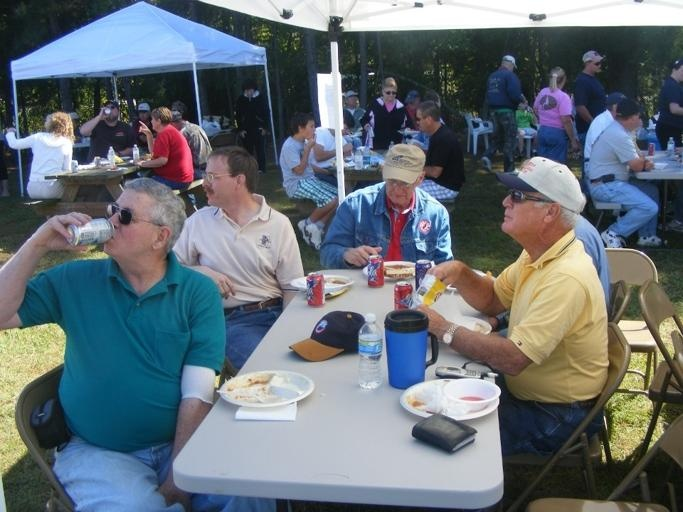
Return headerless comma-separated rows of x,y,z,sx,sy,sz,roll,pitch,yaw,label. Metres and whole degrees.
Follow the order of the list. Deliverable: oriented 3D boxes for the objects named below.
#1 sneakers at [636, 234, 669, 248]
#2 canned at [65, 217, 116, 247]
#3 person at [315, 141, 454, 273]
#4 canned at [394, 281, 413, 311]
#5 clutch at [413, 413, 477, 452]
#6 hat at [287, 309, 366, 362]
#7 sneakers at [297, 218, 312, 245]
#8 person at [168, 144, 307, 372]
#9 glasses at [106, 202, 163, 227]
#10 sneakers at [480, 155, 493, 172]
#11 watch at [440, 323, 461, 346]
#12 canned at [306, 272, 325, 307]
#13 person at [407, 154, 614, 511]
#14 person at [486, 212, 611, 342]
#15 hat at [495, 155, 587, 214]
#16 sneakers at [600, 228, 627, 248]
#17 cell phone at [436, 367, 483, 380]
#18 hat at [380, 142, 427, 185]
3.595,-0.164,6.768,0.237,0.077,0.169,1,19,3,sneakers
-1.070,-0.102,2.540,0.129,0.115,0.206,4,16,28,canned
0.332,-0.264,3.993,0.940,1.170,0.801,-1,29,1,person
0.306,0.204,2.893,0.080,0.145,0.087,16,26,33,canned
0.352,0.605,2.064,0.120,0.045,0.139,-18,20,-42,clutch
-0.058,0.348,2.640,0.296,0.127,0.192,-3,8,-24,hat
-0.447,-0.342,7.412,0.146,0.179,0.413,-3,41,-27,sneakers
-0.662,0.118,3.596,0.894,1.504,0.938,0,12,0,person
-0.967,-0.188,2.637,0.113,0.043,0.153,29,12,31,glasses
2.790,-1.792,11.271,0.200,0.226,0.486,1,2,11,sneakers
0.479,0.346,2.588,0.057,0.101,0.094,31,53,21,watch
-0.138,0.184,3.183,0.130,0.178,0.134,-3,9,-6,canned
0.849,0.392,2.950,0.945,1.711,0.902,-3,14,-6,person
1.334,0.223,3.450,0.388,0.775,0.562,-7,-5,-4,person
0.952,-0.305,2.781,0.350,0.157,0.243,21,16,-3,hat
2.902,-0.194,6.224,0.151,0.175,0.422,-7,17,-1,sneakers
0.485,0.468,2.414,0.141,0.038,0.072,8,11,12,cell phone
0.410,-0.633,3.846,0.278,0.207,0.413,15,24,14,hat
